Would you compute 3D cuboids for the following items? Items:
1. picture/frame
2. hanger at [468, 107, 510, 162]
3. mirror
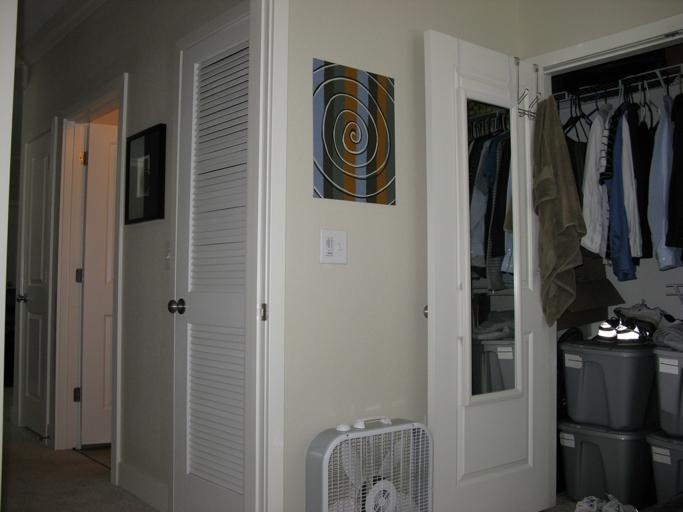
[{"bbox_3d":[-1.241,-0.503,3.412,0.063,0.591,0.547,2,-6,-44],"label":"picture/frame"},{"bbox_3d":[0.816,-0.700,3.014,0.344,0.283,0.037,1,-4,-36],"label":"hanger"},{"bbox_3d":[0.833,-0.055,2.990,0.368,1.590,0.066,1,-5,-34],"label":"mirror"}]
